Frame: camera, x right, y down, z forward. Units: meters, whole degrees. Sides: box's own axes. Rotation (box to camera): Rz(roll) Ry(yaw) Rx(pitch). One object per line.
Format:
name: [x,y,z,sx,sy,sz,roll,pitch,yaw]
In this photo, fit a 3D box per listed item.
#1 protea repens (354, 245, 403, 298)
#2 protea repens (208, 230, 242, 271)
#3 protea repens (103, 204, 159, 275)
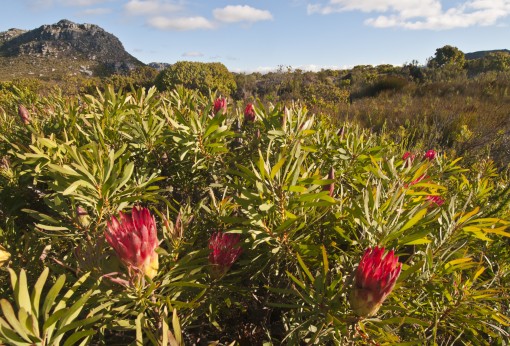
protea repens: [0.598,0.466,1.871,0.188,0.240,0.174,11,17,27]
protea repens: [-0.156,0.451,2.158,0.150,0.213,0.177,-18,-30,38]
protea repens: [-0.594,0.345,1.906,0.211,0.350,0.200,15,19,37]
